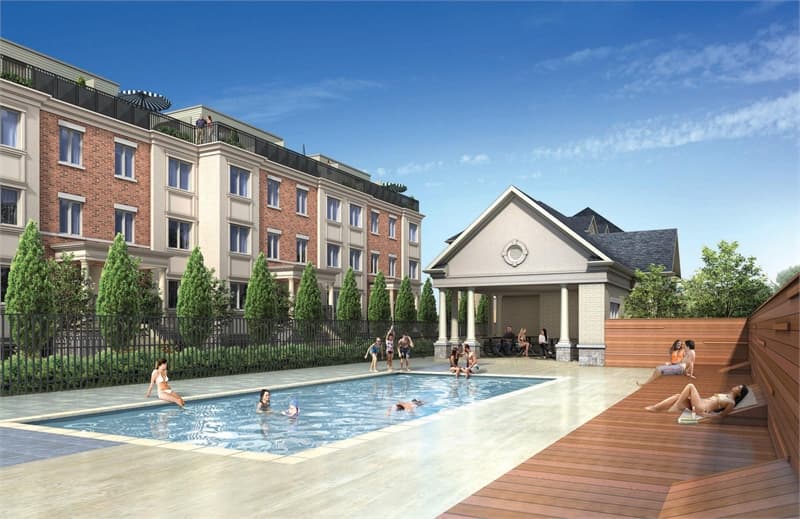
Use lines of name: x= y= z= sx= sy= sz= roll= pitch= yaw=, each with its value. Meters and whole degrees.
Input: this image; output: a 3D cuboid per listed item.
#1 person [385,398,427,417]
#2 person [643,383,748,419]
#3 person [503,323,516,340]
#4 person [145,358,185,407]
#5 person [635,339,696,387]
person: x=0.187 y=4.745 z=18.583 sx=0.827 sy=0.245 sz=0.461 roll=-4 pitch=10 yaw=-42
person: x=7.560 y=3.610 z=14.853 sx=2.310 sy=0.893 sz=0.808 roll=-1 pitch=-23 yaw=32
person: x=6.870 y=4.520 z=36.660 sx=0.624 sy=1.113 sz=1.139 roll=10 pitch=-15 yaw=-19
person: x=-7.345 y=3.907 z=18.432 sx=1.640 sy=1.313 sz=0.998 roll=11 pitch=15 yaw=40
person: x=10.063 y=3.891 z=22.333 sx=2.194 sy=1.546 sz=1.096 roll=-10 pitch=-2 yaw=5
